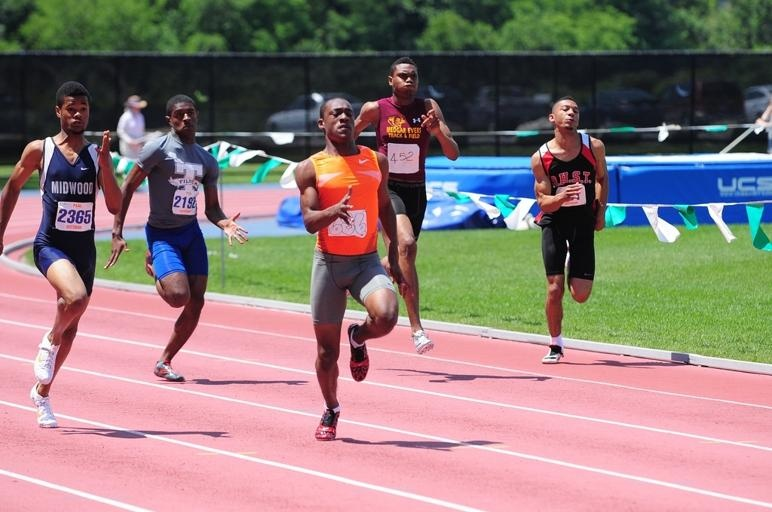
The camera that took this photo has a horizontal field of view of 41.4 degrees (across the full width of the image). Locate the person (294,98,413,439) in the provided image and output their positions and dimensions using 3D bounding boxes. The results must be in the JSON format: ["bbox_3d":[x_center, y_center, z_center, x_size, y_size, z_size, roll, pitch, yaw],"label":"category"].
[{"bbox_3d":[-0.280,0.128,8.502,0.865,2.828,0.779,-2,12,-5],"label":"person"}]

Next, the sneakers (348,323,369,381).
[{"bbox_3d":[-0.221,0.824,8.652,0.198,0.473,0.202,-7,19,4],"label":"sneakers"}]

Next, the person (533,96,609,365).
[{"bbox_3d":[1.894,-0.267,10.751,0.637,2.720,0.882,9,15,37],"label":"person"}]

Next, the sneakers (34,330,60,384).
[{"bbox_3d":[-2.855,0.864,8.727,0.173,0.466,0.216,8,-19,-39],"label":"sneakers"}]

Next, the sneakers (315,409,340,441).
[{"bbox_3d":[-0.469,1.424,8.615,0.141,0.325,0.144,5,-25,9],"label":"sneakers"}]

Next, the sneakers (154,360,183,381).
[{"bbox_3d":[-2.149,1.138,10.061,0.376,0.152,0.134,11,14,33],"label":"sneakers"}]
